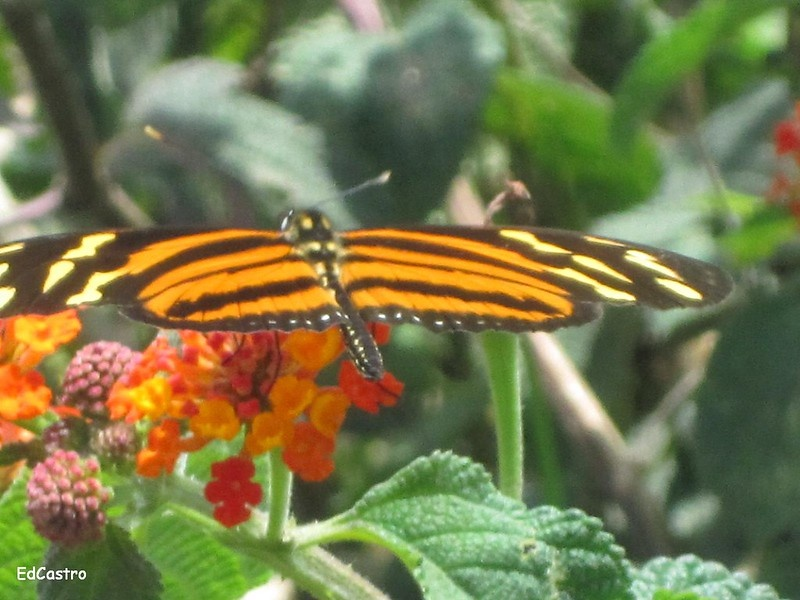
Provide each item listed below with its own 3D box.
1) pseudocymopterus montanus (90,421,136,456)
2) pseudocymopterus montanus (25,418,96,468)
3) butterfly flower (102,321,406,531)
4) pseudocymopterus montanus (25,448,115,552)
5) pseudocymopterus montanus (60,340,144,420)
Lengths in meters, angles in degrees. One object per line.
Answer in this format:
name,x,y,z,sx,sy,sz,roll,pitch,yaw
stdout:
pseudocymopterus montanus,-0.258,0.124,1.015,0.034,0.018,0.029,-10,48,-9
pseudocymopterus montanus,-0.300,0.137,1.032,0.048,0.042,0.017,-9,46,-29
butterfly flower,-0.143,0.094,0.964,0.213,0.093,0.189,-6,34,-3
pseudocymopterus montanus,-0.299,0.181,1.056,0.090,0.078,0.040,-17,8,4
pseudocymopterus montanus,-0.278,0.074,1.031,0.075,0.035,0.065,0,68,0
